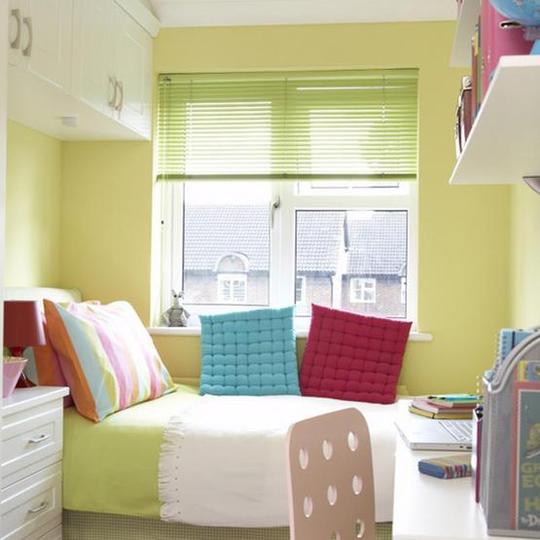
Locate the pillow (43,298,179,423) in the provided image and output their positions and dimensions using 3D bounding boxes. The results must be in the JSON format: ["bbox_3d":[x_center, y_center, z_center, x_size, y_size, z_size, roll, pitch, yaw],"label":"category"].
[{"bbox_3d":[-0.640,0.340,2.384,0.119,0.464,0.424,-26,-9,16],"label":"pillow"}]

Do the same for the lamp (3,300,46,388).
[{"bbox_3d":[-0.868,0.261,2.170,0.137,0.275,0.191,3,0,-28],"label":"lamp"}]

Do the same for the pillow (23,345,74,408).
[{"bbox_3d":[-0.825,0.391,2.333,0.160,0.197,0.054,-6,9,45],"label":"pillow"}]

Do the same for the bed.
[{"bbox_3d":[-0.085,0.402,2.464,1.249,0.919,0.821,-1,-2,5],"label":"bed"}]

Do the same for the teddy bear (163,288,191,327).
[{"bbox_3d":[-0.477,0.191,3.146,0.123,0.211,0.100,2,38,-15],"label":"teddy bear"}]
